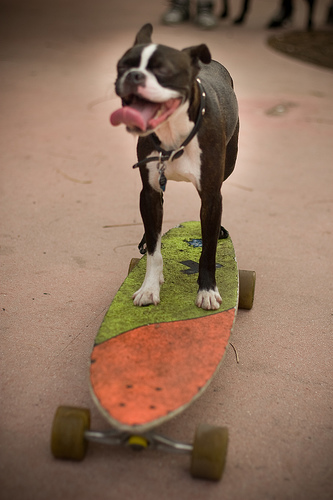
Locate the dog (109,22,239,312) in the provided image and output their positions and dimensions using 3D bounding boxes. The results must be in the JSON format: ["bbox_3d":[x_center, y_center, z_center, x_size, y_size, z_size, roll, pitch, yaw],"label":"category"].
[{"bbox_3d":[0.062,-0.387,2.267,0.553,1.111,1.530,4,18,11],"label":"dog"}]
